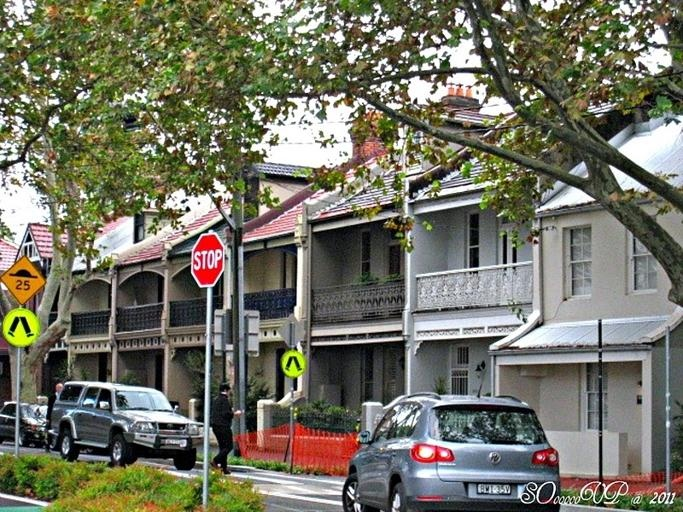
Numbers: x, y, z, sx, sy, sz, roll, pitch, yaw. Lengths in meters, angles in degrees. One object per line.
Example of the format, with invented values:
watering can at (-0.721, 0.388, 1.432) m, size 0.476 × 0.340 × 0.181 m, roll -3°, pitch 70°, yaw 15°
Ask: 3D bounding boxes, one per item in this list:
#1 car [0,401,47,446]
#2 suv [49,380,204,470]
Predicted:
car at (-9.986, 5.136, 37.491) m, size 1.221 × 1.535 × 3.331 m, roll 5°, pitch -15°, yaw -19°
suv at (-5.401, 4.082, 29.284) m, size 1.776 × 1.790 × 3.716 m, roll 6°, pitch -9°, yaw -38°
